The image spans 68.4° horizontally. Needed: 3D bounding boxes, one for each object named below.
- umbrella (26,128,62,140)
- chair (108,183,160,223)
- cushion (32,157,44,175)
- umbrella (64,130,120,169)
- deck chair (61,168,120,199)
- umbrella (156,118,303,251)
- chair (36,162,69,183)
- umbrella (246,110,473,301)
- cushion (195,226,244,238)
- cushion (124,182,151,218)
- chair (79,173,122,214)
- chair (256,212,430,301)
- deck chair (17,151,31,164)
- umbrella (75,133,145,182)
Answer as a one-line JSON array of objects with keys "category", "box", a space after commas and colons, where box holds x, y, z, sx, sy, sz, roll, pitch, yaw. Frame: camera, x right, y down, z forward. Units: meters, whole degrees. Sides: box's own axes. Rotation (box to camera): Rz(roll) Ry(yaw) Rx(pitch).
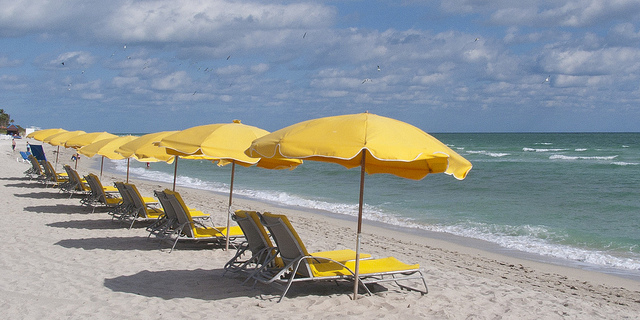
[{"category": "umbrella", "box": [-14.961, -1.432, 25.573, 2.109, 0.545, 1.854, 0, 3, -3]}, {"category": "chair", "box": [-6.515, 1.465, 17.020, 1.037, 1.179, 1.813, 4, 3, 32]}, {"category": "cushion", "box": [-14.109, 0.292, 23.505, 0.197, 0.944, 0.396, -39, -7, 25]}, {"category": "umbrella", "box": [-9.284, -0.156, 19.769, 2.422, 1.358, 2.268, 7, 0, -21]}, {"category": "deck chair", "box": [-9.908, 1.107, 19.565, 2.768, 0.970, 1.431, 2, 9, -23]}, {"category": "umbrella", "box": [-2.422, 0.142, 12.979, 3.413, 2.349, 3.391, -10, -15, 36]}, {"category": "chair", "box": [-12.601, 0.621, 21.856, 1.579, 0.839, 1.088, 3, 4, -33]}, {"category": "umbrella", "box": [1.023, 0.533, 13.242, 5.083, 3.447, 4.780, 8, -3, -29]}, {"category": "cushion", "box": [-3.167, 2.235, 14.688, 0.901, 0.214, 0.483, -1, 2, -8]}, {"category": "cushion", "box": [-6.742, 1.499, 17.317, 0.464, 1.396, 0.212, -21, -26, -35]}, {"category": "chair", "box": [-8.320, 1.400, 18.480, 1.063, 0.946, 1.741, -5, -12, 40]}, {"category": "chair", "box": [0.610, 2.543, 13.314, 4.537, 1.852, 2.249, 0, -1, -13]}, {"category": "deck chair", "box": [-19.658, -0.133, 31.238, 0.960, 0.422, 0.925, 25, 5, 34]}, {"category": "umbrella", "box": [-7.812, -0.160, 17.548, 1.750, 0.885, 1.597, -3, -7, 28]}]
